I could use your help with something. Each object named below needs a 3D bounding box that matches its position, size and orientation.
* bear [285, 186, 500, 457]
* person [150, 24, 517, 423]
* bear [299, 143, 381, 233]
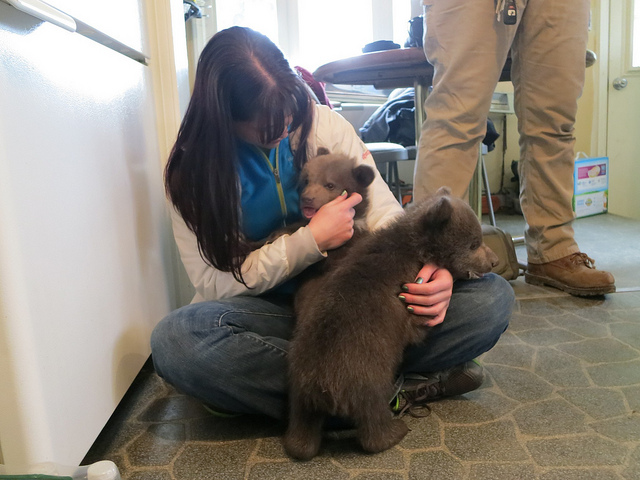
[{"bbox_3d":[0.225,0.278,1.931,0.365,0.784,0.844,13,24,43],"label":"bear"},{"bbox_3d":[0.064,-0.076,2.078,1.288,1.430,1.016,-1,23,10],"label":"person"},{"bbox_3d":[0.116,-0.196,2.349,0.299,0.246,0.367,25,55,22],"label":"bear"}]
